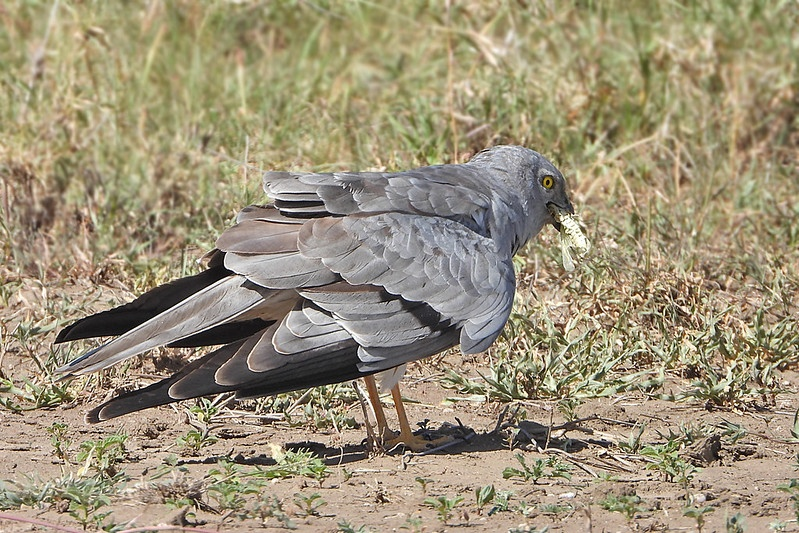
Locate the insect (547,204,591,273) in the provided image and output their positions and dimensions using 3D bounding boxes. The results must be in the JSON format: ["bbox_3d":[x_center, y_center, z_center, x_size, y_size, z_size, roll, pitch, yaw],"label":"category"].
[{"bbox_3d":[1.215,-0.185,5.858,0.219,0.477,0.269,17,-40,-28],"label":"insect"}]
